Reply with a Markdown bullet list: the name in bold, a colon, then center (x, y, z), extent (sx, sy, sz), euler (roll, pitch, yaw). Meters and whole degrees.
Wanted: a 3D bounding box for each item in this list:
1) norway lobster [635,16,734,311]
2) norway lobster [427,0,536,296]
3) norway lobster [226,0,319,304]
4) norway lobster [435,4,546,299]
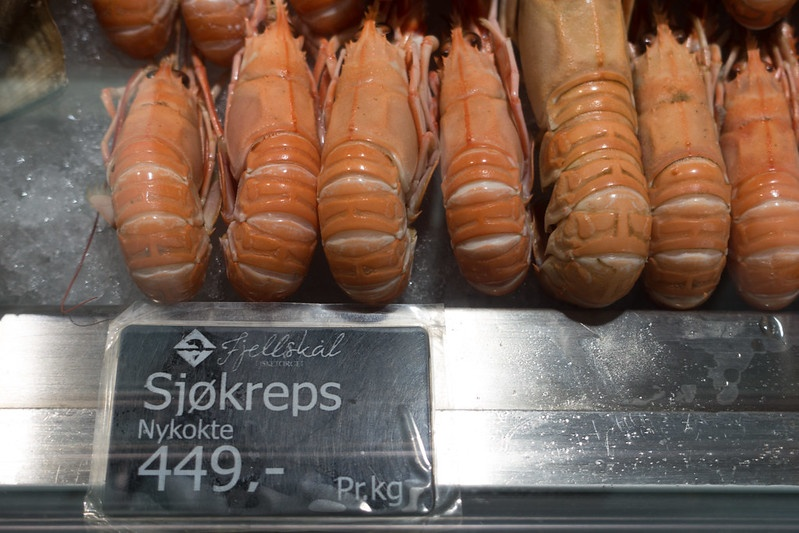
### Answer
- **norway lobster**: center (0.704, -0.277, 2.091), extent (0.216, 0.221, 0.734), euler (2, 74, 5)
- **norway lobster**: center (0.217, -0.292, 2.061), extent (0.233, 0.210, 0.785), euler (-2, 71, 11)
- **norway lobster**: center (-0.326, -0.314, 2.132), extent (0.202, 0.195, 0.765), euler (1, 71, -4)
- **norway lobster**: center (0.215, -0.315, 2.071), extent (0.224, 0.210, 0.794), euler (-1, 71, 9)
